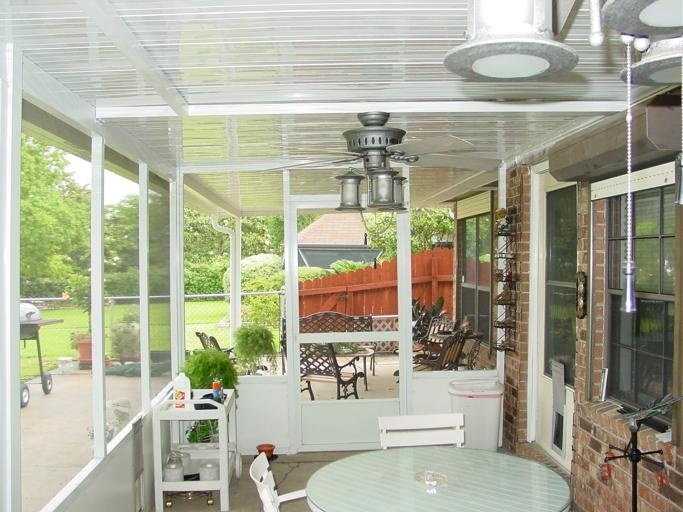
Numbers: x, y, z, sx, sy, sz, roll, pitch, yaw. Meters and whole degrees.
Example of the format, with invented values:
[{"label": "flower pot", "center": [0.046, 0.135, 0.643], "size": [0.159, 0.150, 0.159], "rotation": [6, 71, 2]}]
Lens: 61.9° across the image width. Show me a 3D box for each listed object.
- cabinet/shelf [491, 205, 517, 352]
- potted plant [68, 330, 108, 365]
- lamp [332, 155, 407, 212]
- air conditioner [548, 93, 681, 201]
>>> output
[{"label": "cabinet/shelf", "center": [1.690, 0.253, 5.943], "size": [0.295, 1.521, 0.581], "rotation": [-4, -4, 6]}, {"label": "potted plant", "center": [-1.765, 0.642, 3.921], "size": [0.217, 0.198, 0.222], "rotation": [-1, -1, 13]}, {"label": "lamp", "center": [0.207, -0.384, 3.681], "size": [0.476, 0.317, 0.348], "rotation": [3, -8, -27]}, {"label": "air conditioner", "center": [1.883, -0.685, 3.890], "size": [0.293, 0.473, 1.198], "rotation": [-3, -5, -6]}]
